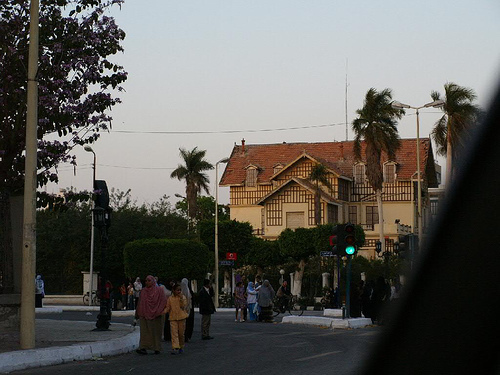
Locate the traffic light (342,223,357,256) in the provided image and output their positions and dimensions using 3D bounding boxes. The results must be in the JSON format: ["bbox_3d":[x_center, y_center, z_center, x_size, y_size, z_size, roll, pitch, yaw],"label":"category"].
[{"bbox_3d":[3.783,1.763,33.391,0.375,1.055,0.545,0,-8,4],"label":"traffic light"}]

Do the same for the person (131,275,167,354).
[{"bbox_3d":[-2.556,3.364,26.300,0.850,2.081,0.983,1,-7,-6],"label":"person"}]

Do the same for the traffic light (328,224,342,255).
[{"bbox_3d":[3.384,1.819,33.940,0.411,1.046,1.302,0,-8,4],"label":"traffic light"}]

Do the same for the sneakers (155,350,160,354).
[{"bbox_3d":[-2.369,4.303,26.013,0.149,0.112,0.299,2,-9,-7],"label":"sneakers"}]

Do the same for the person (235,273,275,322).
[{"bbox_3d":[0.750,4.549,39.525,0.945,1.567,1.738,4,-9,-26],"label":"person"}]

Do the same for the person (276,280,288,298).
[{"bbox_3d":[1.877,4.666,45.093,0.491,0.858,0.576,4,-2,0],"label":"person"}]

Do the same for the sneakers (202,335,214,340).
[{"bbox_3d":[-1.123,4.452,29.528,0.318,0.148,0.115,0,-1,-1],"label":"sneakers"}]

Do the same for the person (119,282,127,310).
[{"bbox_3d":[-6.139,5.282,48.460,0.363,1.236,0.896,2,-8,-8],"label":"person"}]

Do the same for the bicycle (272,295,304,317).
[{"bbox_3d":[2.165,5.398,45.213,1.486,1.064,0.793,-1,1,7],"label":"bicycle"}]
